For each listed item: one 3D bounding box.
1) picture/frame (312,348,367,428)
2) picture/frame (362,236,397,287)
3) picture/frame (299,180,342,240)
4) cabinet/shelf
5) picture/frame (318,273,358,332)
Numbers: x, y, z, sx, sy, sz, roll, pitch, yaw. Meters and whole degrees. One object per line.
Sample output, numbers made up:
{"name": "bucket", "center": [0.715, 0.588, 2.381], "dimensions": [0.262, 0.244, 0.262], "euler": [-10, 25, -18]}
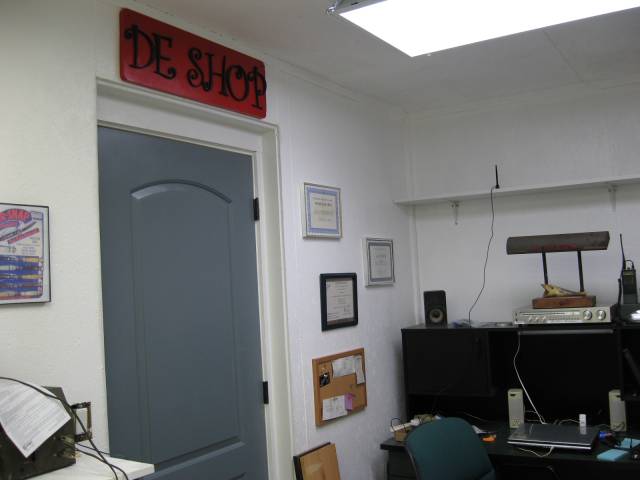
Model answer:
{"name": "picture/frame", "center": [0.100, 0.899, 2.986], "dimensions": [0.081, 0.436, 0.506], "euler": [-8, -10, 37]}
{"name": "picture/frame", "center": [0.433, 0.154, 3.445], "dimensions": [0.046, 0.329, 0.368], "euler": [0, -4, -22]}
{"name": "picture/frame", "center": [0.027, -0.178, 3.031], "dimensions": [0.318, 0.312, 0.041], "euler": [10, 17, 44]}
{"name": "cabinet/shelf", "center": [1.311, 0.894, 3.275], "dimensions": [1.468, 0.737, 0.503], "euler": [-3, -4, 26]}
{"name": "picture/frame", "center": [0.127, 0.376, 3.086], "dimensions": [0.025, 0.360, 0.346], "euler": [8, -15, -38]}
